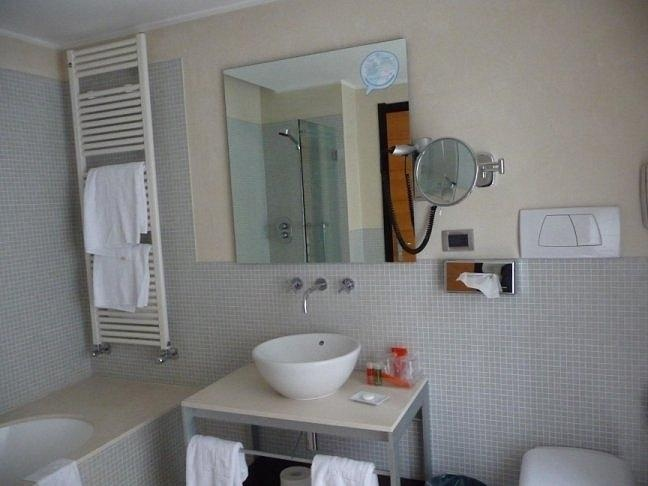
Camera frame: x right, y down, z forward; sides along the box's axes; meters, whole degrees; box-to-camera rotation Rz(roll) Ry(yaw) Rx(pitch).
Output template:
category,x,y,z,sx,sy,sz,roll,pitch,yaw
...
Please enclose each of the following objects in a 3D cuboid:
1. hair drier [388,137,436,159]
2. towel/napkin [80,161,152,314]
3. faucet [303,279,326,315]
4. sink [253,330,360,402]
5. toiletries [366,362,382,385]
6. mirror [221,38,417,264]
category,x,y,z,sx,sy,sz,roll,pitch,yaw
hair drier,0.480,-0.533,3.067,0.334,0.083,0.090,-19,7,-30
towel/napkin,-1.372,-0.032,3.627,0.462,0.984,0.095,0,3,13
faucet,-0.054,0.335,3.329,0.158,0.235,0.196,-1,3,-2
sink,-0.099,0.706,3.074,0.599,0.296,0.505,0,3,2
toiletries,0.281,0.746,3.080,0.105,0.152,0.058,2,7,15
mirror,0.015,-0.576,3.278,1.320,1.410,0.058,-1,3,14
